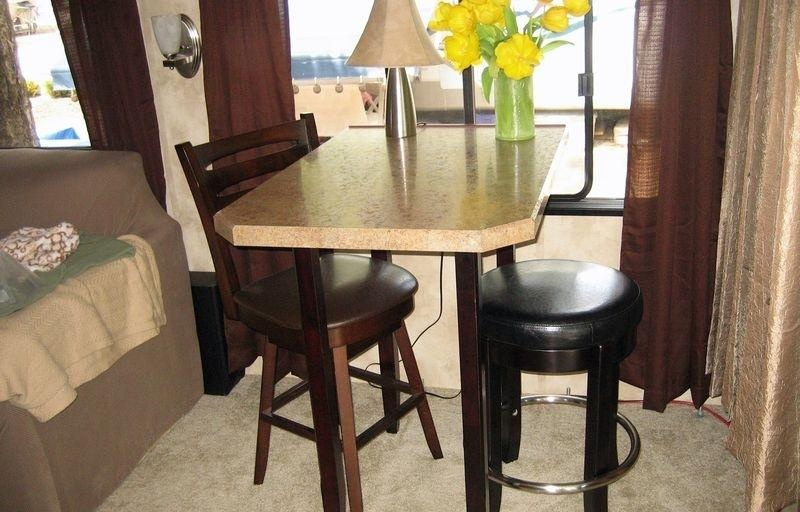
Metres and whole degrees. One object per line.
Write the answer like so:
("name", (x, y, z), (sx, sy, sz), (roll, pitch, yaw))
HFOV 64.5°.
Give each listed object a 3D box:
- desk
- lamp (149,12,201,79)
("desk", (-0.043, 0.070, 3.139), (1.234, 1.844, 1.736), (2, 24, 11))
("lamp", (-1.187, -1.150, 3.506), (0.308, 0.343, 0.143), (4, 23, 17))
